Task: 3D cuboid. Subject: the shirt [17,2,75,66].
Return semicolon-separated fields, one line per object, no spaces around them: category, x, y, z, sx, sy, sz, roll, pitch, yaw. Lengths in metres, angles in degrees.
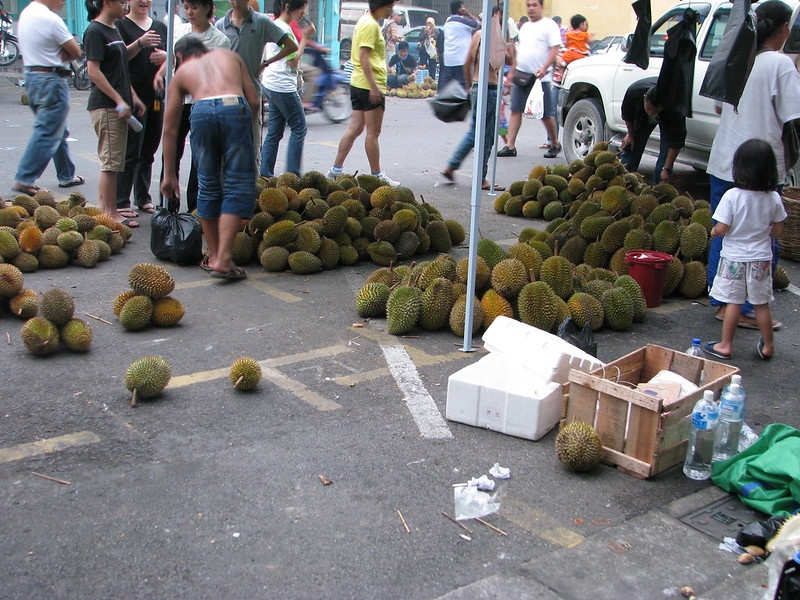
shirt;-4.174;-3.135;7.224;0.631;0.760;0.367;-1;16;-14

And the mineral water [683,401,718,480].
mineral water;1.606;0.715;3.254;0.134;0.425;0.236;10;17;27

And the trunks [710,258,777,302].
trunks;2.485;-0.130;4.451;0.505;0.384;0.292;3;1;21

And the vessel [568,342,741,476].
vessel;1.485;0.614;3.588;0.588;0.478;0.997;19;28;41

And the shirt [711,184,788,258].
shirt;2.524;-0.583;4.477;0.549;0.546;0.314;6;22;22

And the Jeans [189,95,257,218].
Jeans;-1.581;-1.264;5.507;0.614;1.085;0.364;9;17;24

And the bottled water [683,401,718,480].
bottled water;1.606;0.715;3.254;0.134;0.425;0.236;10;17;27

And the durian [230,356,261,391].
durian;-0.958;0.451;3.798;0.195;0.200;0.199;-4;-4;18

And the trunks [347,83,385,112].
trunks;-0.437;-2.605;7.982;0.475;0.344;0.327;30;50;33

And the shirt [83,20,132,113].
shirt;-3.046;-2.453;6.461;0.485;0.905;0.383;-10;20;-37

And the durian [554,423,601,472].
durian;0.924;0.750;3.267;0.233;0.243;0.247;4;-1;43

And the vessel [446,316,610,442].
vessel;0.762;0.384;3.745;0.588;0.544;0.837;17;26;33

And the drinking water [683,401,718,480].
drinking water;1.606;0.715;3.254;0.134;0.425;0.236;10;17;27

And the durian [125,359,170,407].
durian;-1.527;0.488;3.696;0.189;0.184;0.328;2;11;9
